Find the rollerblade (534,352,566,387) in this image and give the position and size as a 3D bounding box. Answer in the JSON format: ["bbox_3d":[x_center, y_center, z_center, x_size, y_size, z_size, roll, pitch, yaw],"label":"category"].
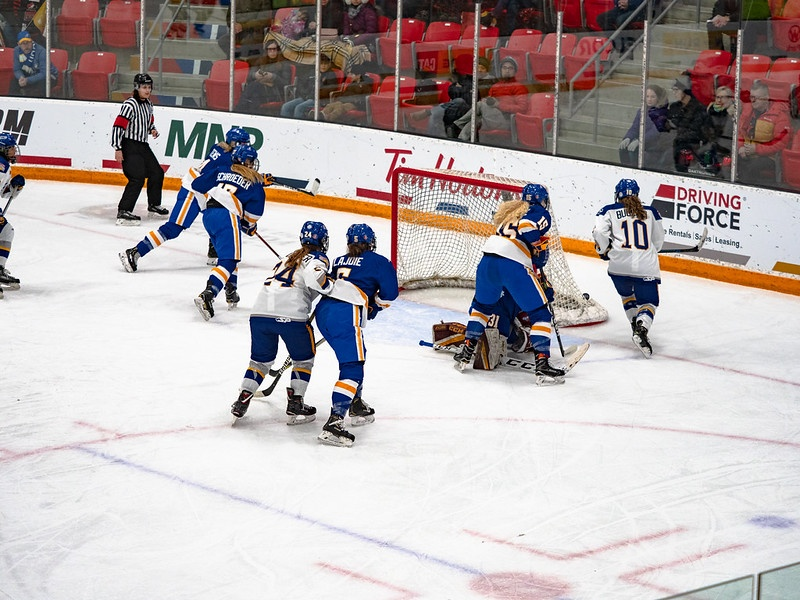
[{"bbox_3d":[1.112,0.521,6.217,0.242,0.227,0.149,5,6,-2],"label":"rollerblade"}]

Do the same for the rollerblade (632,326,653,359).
[{"bbox_3d":[1.931,0.317,6.749,0.113,0.132,0.299,-13,58,-6],"label":"rollerblade"}]

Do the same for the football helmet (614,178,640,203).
[{"bbox_3d":[1.889,-0.922,7.168,0.200,0.223,0.239,5,14,2],"label":"football helmet"}]

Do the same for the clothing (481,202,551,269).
[{"bbox_3d":[0.898,-0.469,6.385,0.521,0.494,0.428,21,-15,12],"label":"clothing"}]

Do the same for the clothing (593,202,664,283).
[{"bbox_3d":[1.896,-0.487,7.050,0.565,0.611,0.291,6,6,11],"label":"clothing"}]

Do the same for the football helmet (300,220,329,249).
[{"bbox_3d":[-0.561,-0.406,5.394,0.155,0.165,0.195,7,12,23],"label":"football helmet"}]

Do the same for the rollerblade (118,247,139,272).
[{"bbox_3d":[-2.647,-0.390,8.423,0.175,0.112,0.355,-14,-3,1],"label":"rollerblade"}]

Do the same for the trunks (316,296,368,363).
[{"bbox_3d":[-0.374,0.199,5.278,0.325,0.398,0.240,5,6,-5],"label":"trunks"}]

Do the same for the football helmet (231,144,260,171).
[{"bbox_3d":[-1.376,-1.316,7.792,0.284,0.204,0.201,-1,31,-36],"label":"football helmet"}]

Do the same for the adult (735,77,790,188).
[{"bbox_3d":[3.493,-1.581,8.123,0.471,0.963,0.210,9,7,26],"label":"adult"}]

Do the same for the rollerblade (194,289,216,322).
[{"bbox_3d":[-1.655,0.051,7.210,0.154,0.262,0.184,5,6,-10],"label":"rollerblade"}]

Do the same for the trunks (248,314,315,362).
[{"bbox_3d":[-0.726,0.291,5.371,0.471,0.316,0.242,-2,-9,20],"label":"trunks"}]

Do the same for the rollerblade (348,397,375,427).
[{"bbox_3d":[-0.198,0.733,5.440,0.268,0.165,0.094,-5,6,-45],"label":"rollerblade"}]

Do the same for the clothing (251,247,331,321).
[{"bbox_3d":[-0.650,-0.077,5.201,0.444,0.443,0.190,27,-2,24],"label":"clothing"}]

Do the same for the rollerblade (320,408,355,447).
[{"bbox_3d":[-0.376,0.803,5.242,0.228,0.183,0.109,14,-9,-13],"label":"rollerblade"}]

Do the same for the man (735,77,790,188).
[{"bbox_3d":[3.493,-1.581,8.123,0.471,0.963,0.210,9,7,26],"label":"man"}]

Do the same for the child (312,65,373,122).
[{"bbox_3d":[-0.583,-2.567,10.737,0.692,0.667,0.534,-18,30,-32],"label":"child"}]

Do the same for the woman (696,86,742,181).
[{"bbox_3d":[3.168,-1.622,8.435,0.340,0.966,0.311,14,48,25],"label":"woman"}]

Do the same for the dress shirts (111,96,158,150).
[{"bbox_3d":[-3.151,-2.112,10.119,0.359,0.632,0.730,10,16,24],"label":"dress shirts"}]

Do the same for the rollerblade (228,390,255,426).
[{"bbox_3d":[-0.973,0.659,5.357,0.100,0.123,0.270,22,37,-12],"label":"rollerblade"}]

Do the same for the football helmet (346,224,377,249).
[{"bbox_3d":[-0.237,-0.414,5.496,0.158,0.158,0.186,6,19,26],"label":"football helmet"}]

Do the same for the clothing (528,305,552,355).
[{"bbox_3d":[1.023,0.223,6.253,0.188,0.370,0.167,6,6,5],"label":"clothing"}]

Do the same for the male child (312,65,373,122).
[{"bbox_3d":[-0.784,-2.695,10.776,0.646,0.776,0.709,4,51,-9],"label":"male child"}]

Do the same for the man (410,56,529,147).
[{"bbox_3d":[0.863,-2.331,9.867,1.517,0.943,0.827,-20,33,-22],"label":"man"}]

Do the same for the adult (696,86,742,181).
[{"bbox_3d":[3.165,-1.633,8.454,0.381,1.011,0.310,4,50,16],"label":"adult"}]
